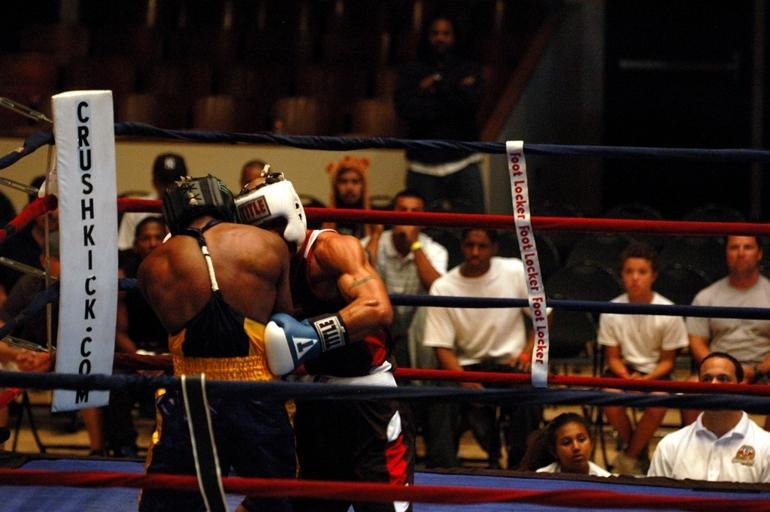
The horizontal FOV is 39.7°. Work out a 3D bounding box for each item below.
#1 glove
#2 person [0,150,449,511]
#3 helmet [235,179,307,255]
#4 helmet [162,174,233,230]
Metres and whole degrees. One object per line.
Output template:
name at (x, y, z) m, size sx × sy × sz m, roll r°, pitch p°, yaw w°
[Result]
glove at (-0.430, 0.421, 5.389) m, size 0.501 × 0.222 × 0.274 m, roll -10°, pitch 15°, yaw -41°
person at (-0.561, 0.471, 5.413) m, size 1.399 × 1.797 × 0.548 m, roll -2°, pitch 3°, yaw -12°
helmet at (-0.602, -0.194, 5.694) m, size 0.354 × 0.370 × 0.428 m, roll -14°, pitch 8°, yaw 21°
helmet at (-0.986, -0.245, 5.550) m, size 0.293 × 0.287 × 0.338 m, roll -1°, pitch -23°, yaw -18°
